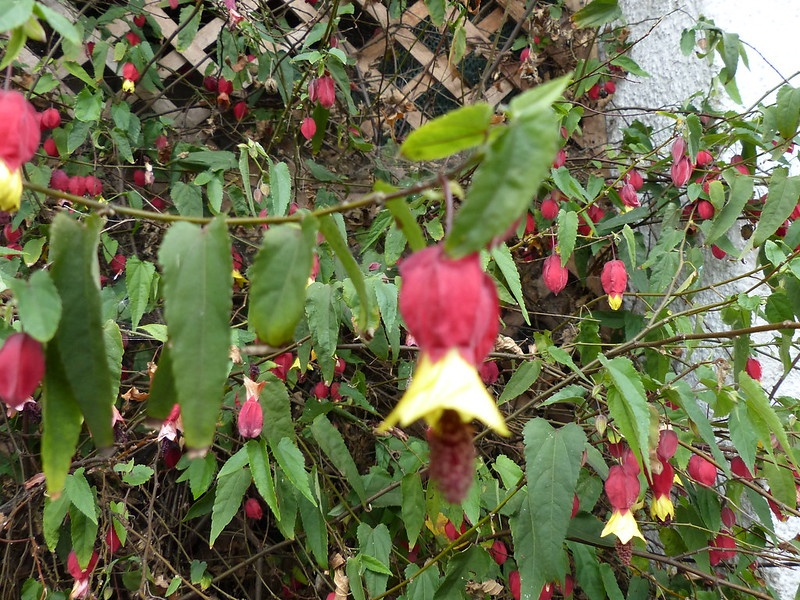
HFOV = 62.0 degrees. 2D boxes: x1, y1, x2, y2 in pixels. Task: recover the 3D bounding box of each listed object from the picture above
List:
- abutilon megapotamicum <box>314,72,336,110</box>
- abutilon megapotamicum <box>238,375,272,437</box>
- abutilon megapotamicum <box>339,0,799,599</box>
[{"bbox_3d":[-0.215,-0.602,1.922,0.065,0.085,0.121,30,9,-11],"label":"abutilon megapotamicum"},{"bbox_3d":[-0.304,0.225,1.399,0.065,0.068,0.139,73,15,-57],"label":"abutilon megapotamicum"},{"bbox_3d":[0.653,-0.261,1.854,1.050,1.889,0.393,1,-8,14],"label":"abutilon megapotamicum"}]
